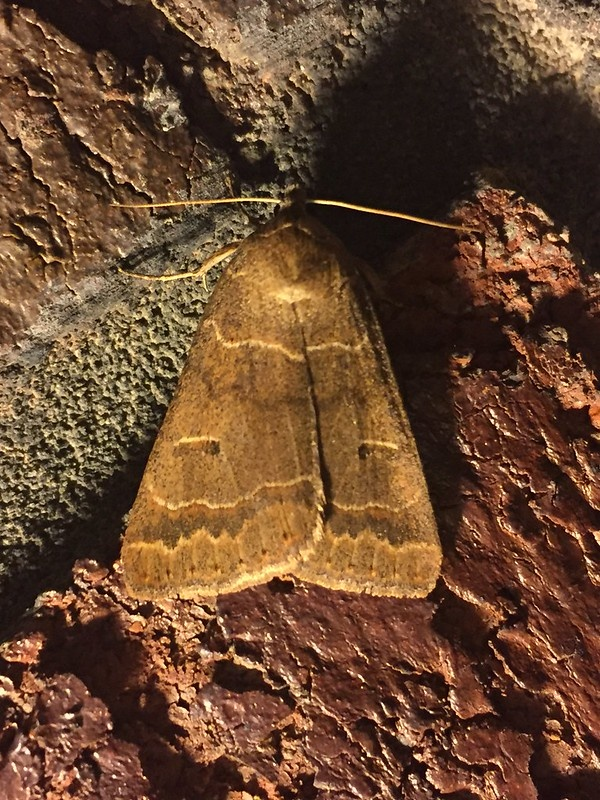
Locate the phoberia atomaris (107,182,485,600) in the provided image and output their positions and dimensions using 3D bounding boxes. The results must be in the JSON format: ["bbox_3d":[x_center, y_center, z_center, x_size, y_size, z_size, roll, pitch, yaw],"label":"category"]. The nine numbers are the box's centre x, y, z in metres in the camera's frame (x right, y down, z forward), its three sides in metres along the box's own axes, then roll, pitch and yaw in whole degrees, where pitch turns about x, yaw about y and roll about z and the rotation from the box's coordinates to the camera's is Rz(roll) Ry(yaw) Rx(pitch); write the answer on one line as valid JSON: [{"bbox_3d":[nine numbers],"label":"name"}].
[{"bbox_3d":[-0.089,0.002,4.467,1.836,1.634,0.485,-2,3,1],"label":"phoberia atomaris"}]
